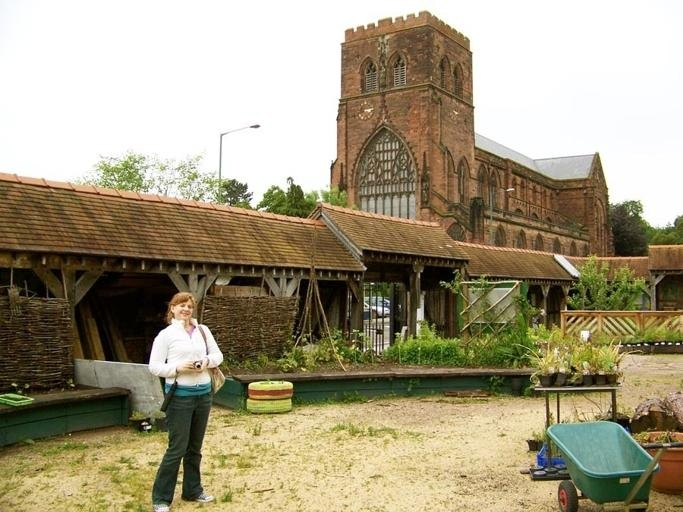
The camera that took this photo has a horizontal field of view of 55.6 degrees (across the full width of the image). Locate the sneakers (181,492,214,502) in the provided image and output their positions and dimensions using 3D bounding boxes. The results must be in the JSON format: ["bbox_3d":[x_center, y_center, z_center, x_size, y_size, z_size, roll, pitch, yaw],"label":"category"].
[{"bbox_3d":[-1.904,3.215,8.632,0.421,0.170,0.145,-1,-4,0],"label":"sneakers"}]

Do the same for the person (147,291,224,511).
[{"bbox_3d":[-1.984,1.880,8.276,0.534,2.784,0.851,1,1,41],"label":"person"}]

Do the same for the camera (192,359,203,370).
[{"bbox_3d":[-1.802,1.380,8.133,0.111,0.066,0.110,7,-7,-8],"label":"camera"}]

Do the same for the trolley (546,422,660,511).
[{"bbox_3d":[3.223,2.591,8.091,0.830,0.764,1.533,1,-11,-8],"label":"trolley"}]
